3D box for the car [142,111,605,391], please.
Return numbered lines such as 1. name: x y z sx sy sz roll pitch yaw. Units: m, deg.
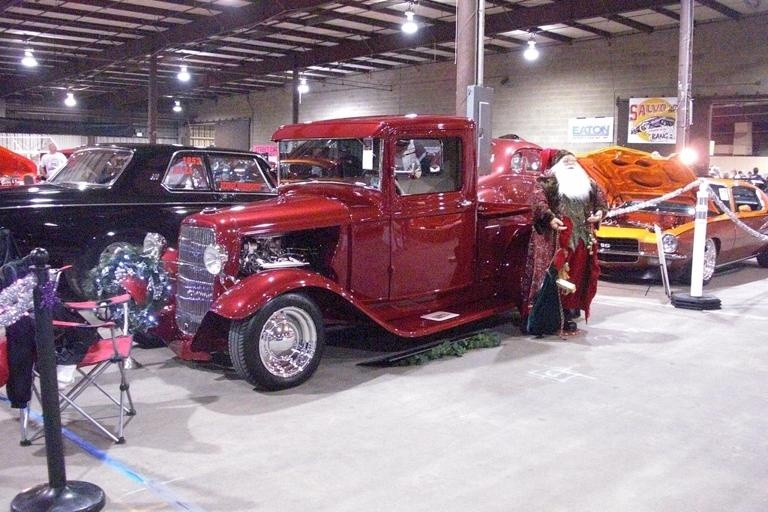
1. car: 0.126 -0.267 6.795 5.136 1.996 2.590 -4 5 -31
